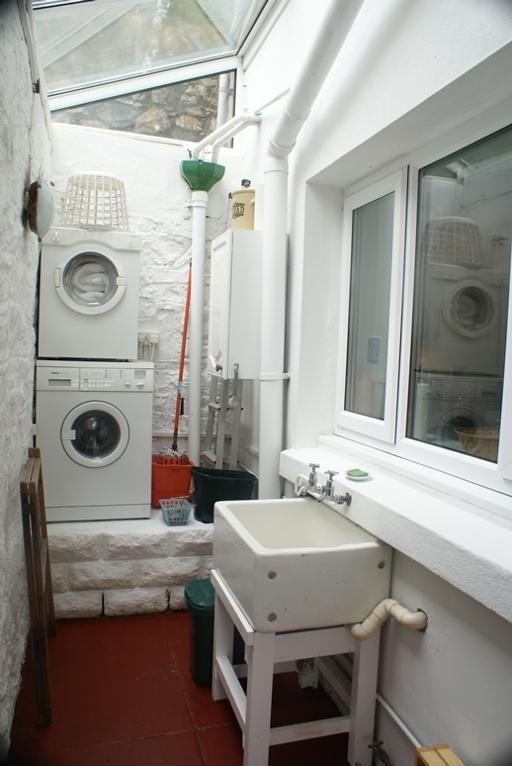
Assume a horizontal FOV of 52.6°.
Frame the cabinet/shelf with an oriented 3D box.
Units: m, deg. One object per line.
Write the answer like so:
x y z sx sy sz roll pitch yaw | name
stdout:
-0.132 -0.434 2.827 0.224 0.785 0.421 -1 6 -28 | cabinet/shelf

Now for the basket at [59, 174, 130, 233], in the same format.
-0.949 -1.040 3.040 0.377 0.308 0.406 -1 27 -27 | basket

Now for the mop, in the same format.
-0.519 -0.112 3.481 0.199 1.372 0.192 1 8 -35 | mop

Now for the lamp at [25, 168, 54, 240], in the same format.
-0.784 -0.647 1.875 0.065 0.212 0.139 1 9 -16 | lamp

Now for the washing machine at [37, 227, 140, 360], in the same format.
-0.940 -0.437 2.883 0.461 0.789 0.472 0 11 -22 | washing machine

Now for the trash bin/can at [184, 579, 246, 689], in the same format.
-0.179 0.981 2.096 0.278 0.330 0.327 2 2 -4 | trash bin/can

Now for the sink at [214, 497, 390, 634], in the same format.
0.127 0.589 1.681 0.454 0.323 0.555 3 -2 -19 | sink

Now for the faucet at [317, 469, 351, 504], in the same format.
0.256 0.353 1.725 0.053 0.125 0.120 5 -9 -28 | faucet

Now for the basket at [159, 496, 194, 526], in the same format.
-0.436 0.696 2.791 0.108 0.080 0.162 2 -8 -10 | basket
